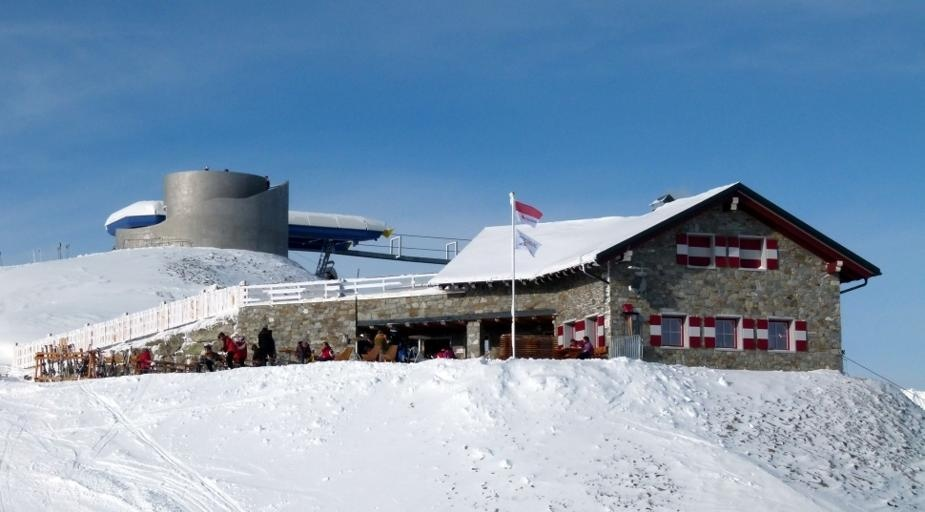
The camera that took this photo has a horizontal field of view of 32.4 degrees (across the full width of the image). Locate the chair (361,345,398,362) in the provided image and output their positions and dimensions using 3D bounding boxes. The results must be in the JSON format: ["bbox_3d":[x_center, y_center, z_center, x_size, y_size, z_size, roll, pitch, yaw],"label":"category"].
[{"bbox_3d":[-3.836,4.495,75.652,1.530,0.745,1.619,1,-3,13],"label":"chair"}]
